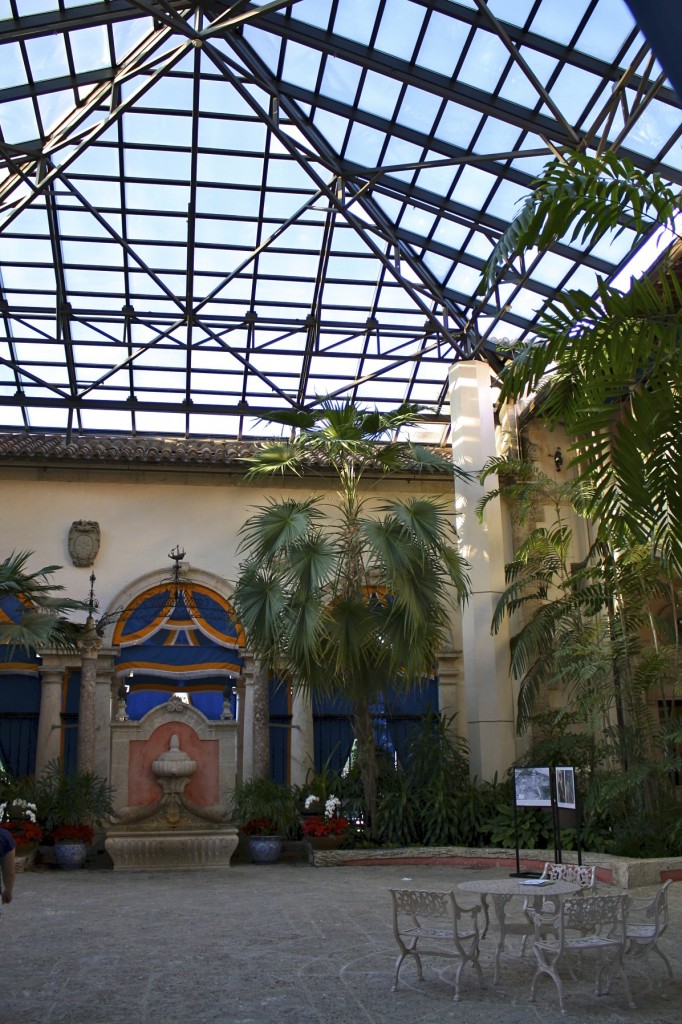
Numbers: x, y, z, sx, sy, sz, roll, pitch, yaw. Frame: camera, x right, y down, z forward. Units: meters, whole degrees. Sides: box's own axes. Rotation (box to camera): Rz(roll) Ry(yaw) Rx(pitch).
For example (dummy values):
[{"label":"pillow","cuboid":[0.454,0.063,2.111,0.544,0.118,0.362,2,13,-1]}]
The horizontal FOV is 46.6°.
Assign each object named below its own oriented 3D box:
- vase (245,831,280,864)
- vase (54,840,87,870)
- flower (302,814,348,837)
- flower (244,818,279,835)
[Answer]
[{"label":"vase","cuboid":[-1.189,5.090,12.009,0.436,0.305,0.440,11,-25,-22]},{"label":"vase","cuboid":[-3.988,5.039,11.595,0.425,0.321,0.428,27,-49,-20]},{"label":"flower","cuboid":[-0.267,4.669,11.755,0.393,0.183,0.402,-3,-2,18]},{"label":"flower","cuboid":[-1.228,4.786,12.068,0.307,0.136,0.309,10,-12,-15]}]
